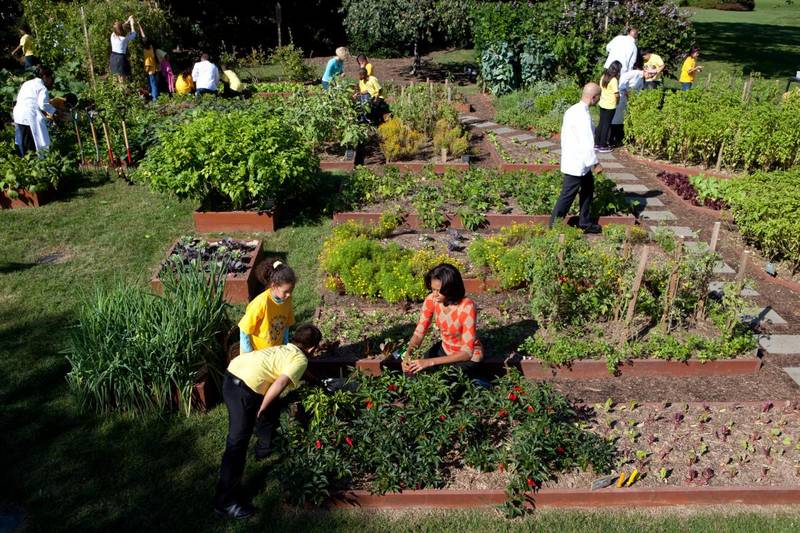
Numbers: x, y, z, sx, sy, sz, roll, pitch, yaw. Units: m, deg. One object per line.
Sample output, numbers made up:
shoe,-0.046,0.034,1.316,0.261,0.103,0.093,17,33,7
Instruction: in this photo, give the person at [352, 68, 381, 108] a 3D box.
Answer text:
person,-0.767,-4.405,14.858,0.641,0.915,0.696,-14,26,-35

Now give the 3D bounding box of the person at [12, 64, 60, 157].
person,-7.398,-3.133,12.223,0.818,1.731,0.704,12,23,25

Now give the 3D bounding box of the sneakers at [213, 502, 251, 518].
sneakers,-1.903,2.755,6.785,0.365,0.144,0.179,0,27,0

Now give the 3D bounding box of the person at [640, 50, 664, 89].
person,6.440,-4.950,15.247,0.495,0.804,1.923,10,22,20

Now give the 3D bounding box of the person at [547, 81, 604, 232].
person,3.015,-1.808,10.211,1.070,2.466,0.658,-13,25,-33

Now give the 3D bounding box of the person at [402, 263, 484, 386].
person,0.545,0.715,7.526,1.030,1.372,1.089,-3,15,8

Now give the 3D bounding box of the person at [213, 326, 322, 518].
person,-1.648,1.709,6.977,0.685,1.982,1.351,19,27,37
